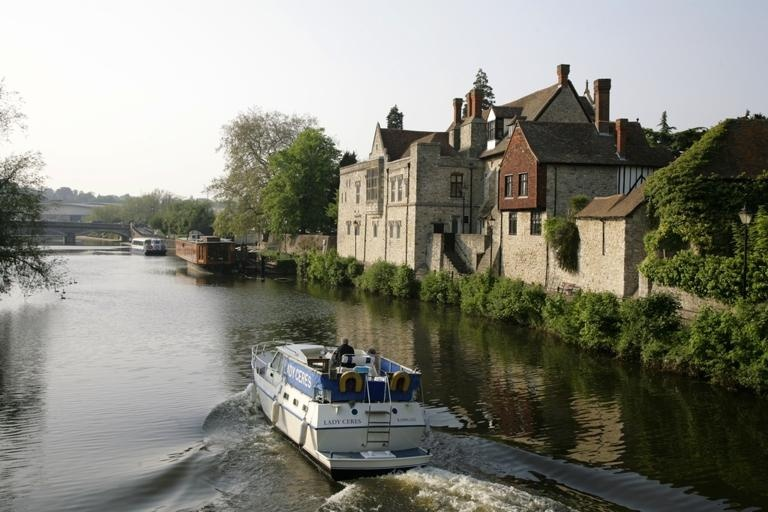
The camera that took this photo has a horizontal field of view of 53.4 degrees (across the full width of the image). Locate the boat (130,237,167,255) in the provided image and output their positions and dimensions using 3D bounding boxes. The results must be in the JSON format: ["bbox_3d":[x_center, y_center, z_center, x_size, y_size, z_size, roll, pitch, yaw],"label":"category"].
[{"bbox_3d":[-37.700,-1.508,122.536,3.050,2.556,9.495,1,6,-29],"label":"boat"}]
